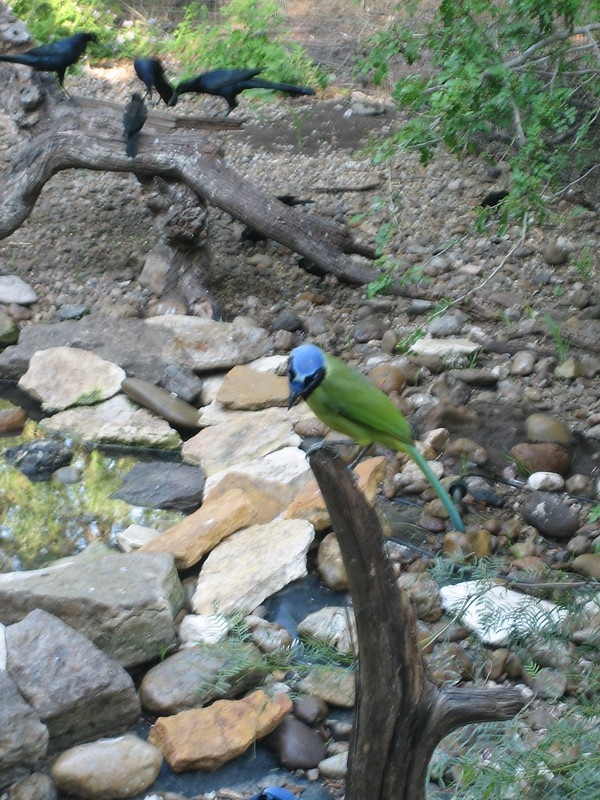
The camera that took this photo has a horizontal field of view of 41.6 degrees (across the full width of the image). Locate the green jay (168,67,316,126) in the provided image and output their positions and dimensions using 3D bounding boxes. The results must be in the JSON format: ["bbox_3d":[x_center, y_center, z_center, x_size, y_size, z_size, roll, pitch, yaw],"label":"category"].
[{"bbox_3d":[-0.436,-2.080,5.259,0.821,0.264,0.818,0,17,-12],"label":"green jay"}]

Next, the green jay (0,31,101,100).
[{"bbox_3d":[-1.671,-2.409,5.433,0.395,0.346,0.933,4,17,1],"label":"green jay"}]
